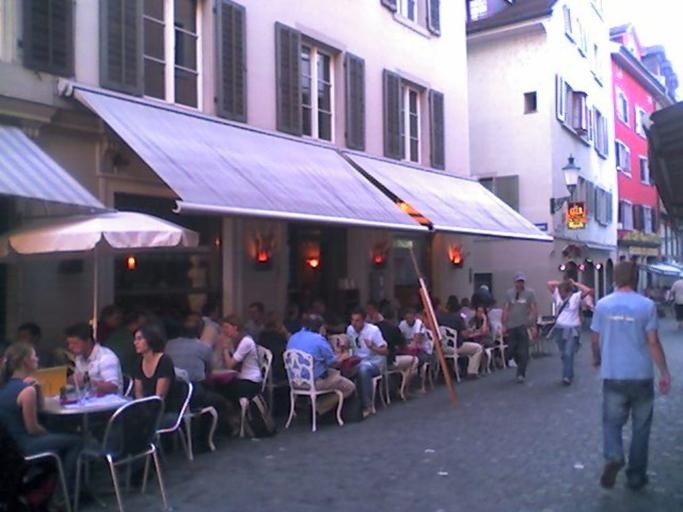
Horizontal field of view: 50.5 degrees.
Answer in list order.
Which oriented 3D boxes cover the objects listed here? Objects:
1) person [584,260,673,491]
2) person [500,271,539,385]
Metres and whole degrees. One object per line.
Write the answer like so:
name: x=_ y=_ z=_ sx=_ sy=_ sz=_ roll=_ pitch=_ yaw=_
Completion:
person: x=3.081 y=1.435 z=7.766 sx=0.755 sy=2.038 sz=0.690 roll=1 pitch=3 yaw=21
person: x=3.373 y=1.349 z=13.732 sx=0.555 sy=2.077 sz=0.626 roll=3 pitch=5 yaw=36
